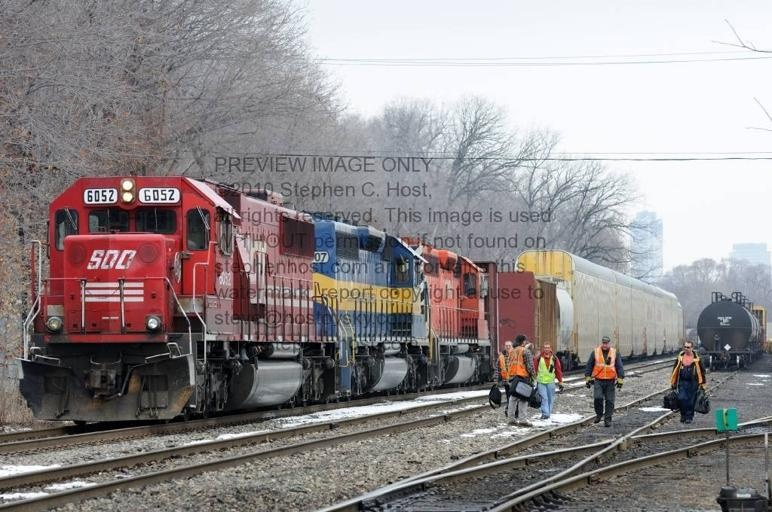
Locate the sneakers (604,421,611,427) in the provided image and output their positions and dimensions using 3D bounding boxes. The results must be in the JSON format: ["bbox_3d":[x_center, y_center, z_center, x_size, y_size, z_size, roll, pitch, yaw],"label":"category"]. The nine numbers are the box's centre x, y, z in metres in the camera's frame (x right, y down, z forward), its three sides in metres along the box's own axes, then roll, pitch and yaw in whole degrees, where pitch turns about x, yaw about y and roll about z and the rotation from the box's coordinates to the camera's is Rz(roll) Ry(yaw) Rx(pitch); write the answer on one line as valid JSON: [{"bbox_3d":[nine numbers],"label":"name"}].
[{"bbox_3d":[5.178,3.890,20.502,0.135,0.108,0.188,-6,-12,16],"label":"sneakers"}]

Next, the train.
[{"bbox_3d":[1.821,1.646,30.195,5.739,5.506,30.238,-2,-6,29],"label":"train"}]

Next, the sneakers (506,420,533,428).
[{"bbox_3d":[3.096,3.834,20.370,0.559,0.262,0.202,-3,-3,22],"label":"sneakers"}]

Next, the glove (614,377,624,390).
[{"bbox_3d":[5.528,3.063,20.859,0.291,0.391,0.180,-1,6,7],"label":"glove"}]
